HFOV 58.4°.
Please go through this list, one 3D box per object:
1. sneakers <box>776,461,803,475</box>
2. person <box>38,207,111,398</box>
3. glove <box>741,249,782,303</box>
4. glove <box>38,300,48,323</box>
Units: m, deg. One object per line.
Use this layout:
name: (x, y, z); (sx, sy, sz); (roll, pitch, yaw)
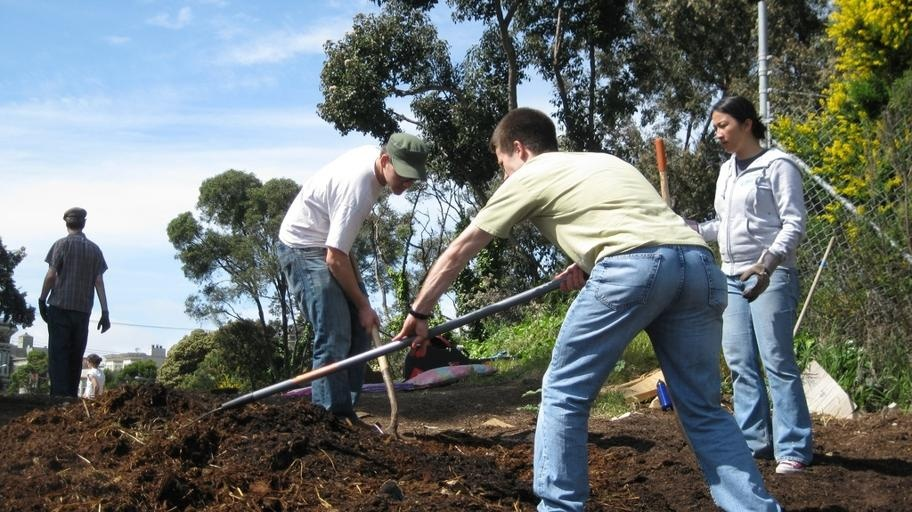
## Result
sneakers: (3.780, 2.406, 9.227); (0.341, 0.159, 0.130); (5, -11, -1)
person: (-5.721, 0.656, 12.230); (0.963, 3.104, 0.662); (-6, 1, -38)
glove: (3.436, 0.204, 9.230); (0.244, 0.575, 0.408); (37, 12, -11)
glove: (-6.122, 0.796, 12.128); (0.096, 0.356, 0.141); (-6, 1, -29)
